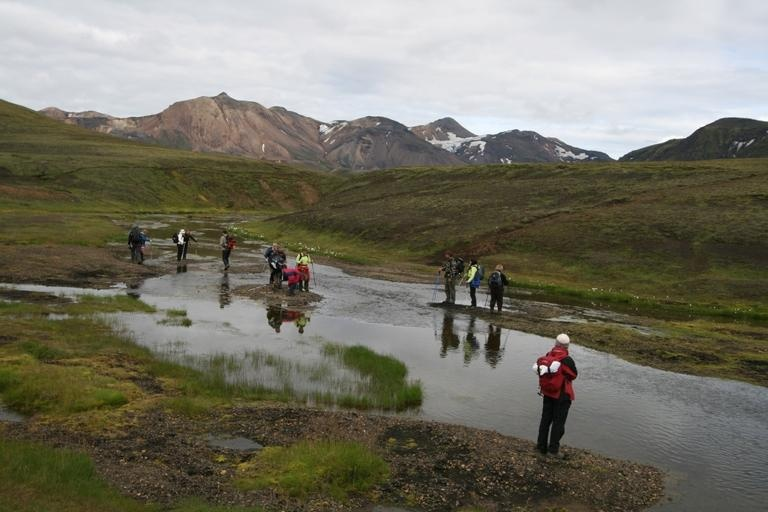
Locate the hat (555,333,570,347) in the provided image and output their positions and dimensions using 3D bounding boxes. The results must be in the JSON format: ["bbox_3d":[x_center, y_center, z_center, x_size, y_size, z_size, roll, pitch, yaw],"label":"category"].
[{"bbox_3d":[6.747,3.138,22.764,0.415,0.459,0.573,6,10,12],"label":"hat"}]

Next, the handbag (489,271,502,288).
[{"bbox_3d":[7.117,1.454,38.303,0.928,1.090,0.336,10,13,30],"label":"handbag"}]
